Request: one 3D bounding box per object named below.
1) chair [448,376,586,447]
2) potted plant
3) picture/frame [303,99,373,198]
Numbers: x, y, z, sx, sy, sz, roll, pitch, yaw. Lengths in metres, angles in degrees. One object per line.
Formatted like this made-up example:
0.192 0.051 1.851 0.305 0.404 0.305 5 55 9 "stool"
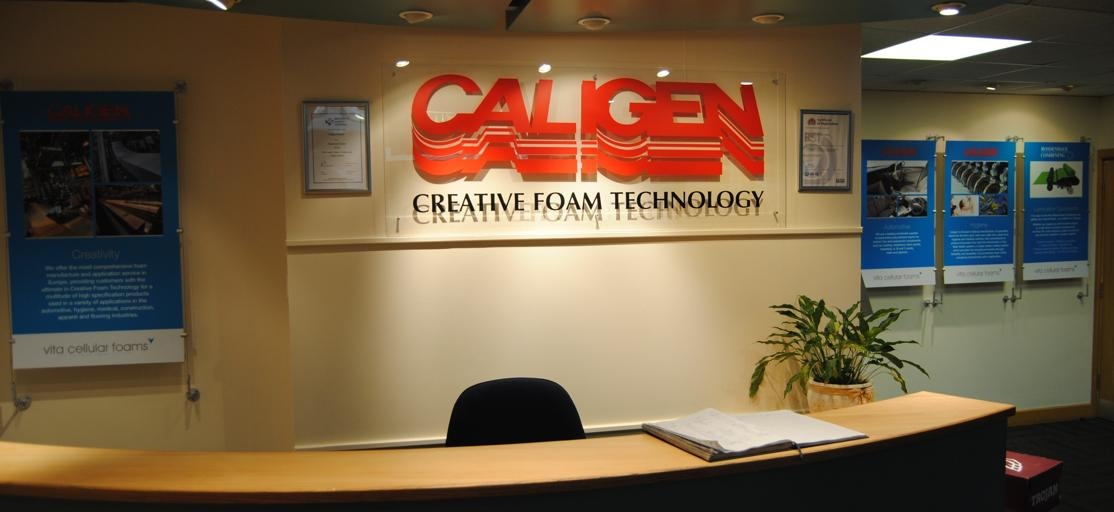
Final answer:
-0.385 1.432 5.986 0.912 0.890 0.714 -1 -7 1 "chair"
3.059 1.044 7.265 1.774 0.958 1.596 -1 -6 11 "potted plant"
-2.311 -1.134 6.905 0.659 0.956 0.086 -2 4 -10 "picture/frame"
